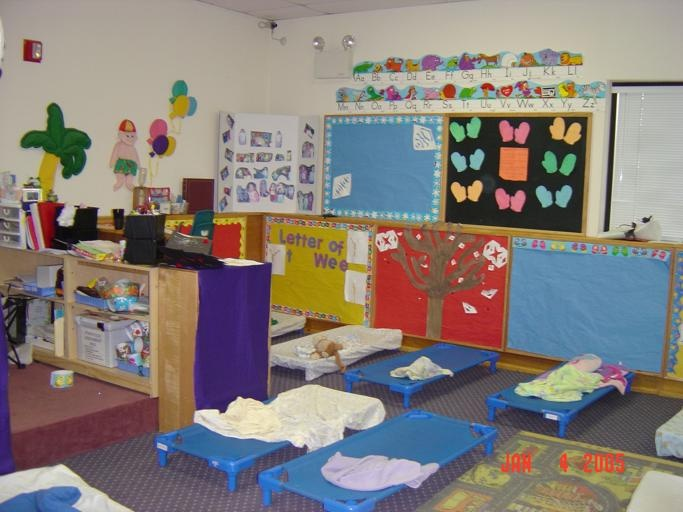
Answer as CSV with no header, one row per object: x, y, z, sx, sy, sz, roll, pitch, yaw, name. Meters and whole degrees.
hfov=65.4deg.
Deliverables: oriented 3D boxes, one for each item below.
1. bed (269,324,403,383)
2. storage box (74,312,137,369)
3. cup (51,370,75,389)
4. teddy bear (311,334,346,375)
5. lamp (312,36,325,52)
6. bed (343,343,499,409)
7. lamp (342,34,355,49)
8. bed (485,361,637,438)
-0.007,0.995,5.668,0.570,0.194,0.985,6,9,43,bed
-1.919,0.654,4.486,0.512,0.356,0.450,6,7,36,storage box
-2.205,0.980,4.212,0.153,0.085,0.139,3,6,0,cup
-0.115,1.023,5.427,0.326,0.324,0.321,0,8,-2,teddy bear
-0.289,-2.690,6.689,0.178,0.192,0.144,2,8,12,lamp
0.822,1.060,5.176,1.223,0.196,0.583,-8,11,-43,bed
0.097,-2.617,6.475,0.161,0.164,0.121,1,8,5,lamp
1.998,1.163,4.532,1.229,0.194,0.540,-17,20,-40,bed
